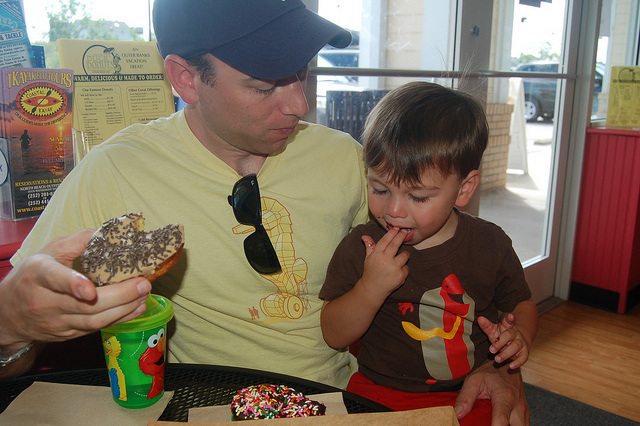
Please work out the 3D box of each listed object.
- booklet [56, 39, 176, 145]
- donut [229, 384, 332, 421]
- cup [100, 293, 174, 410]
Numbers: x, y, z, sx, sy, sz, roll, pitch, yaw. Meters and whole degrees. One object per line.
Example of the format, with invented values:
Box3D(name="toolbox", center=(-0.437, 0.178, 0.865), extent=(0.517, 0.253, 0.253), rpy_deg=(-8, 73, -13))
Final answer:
Box3D(name="booklet", center=(-0.761, -0.438, 1.790), extent=(0.372, 0.410, 0.036), rpy_deg=(-12, 18, -35))
Box3D(name="donut", center=(-0.116, 0.448, 1.140), extent=(0.135, 0.040, 0.105), rpy_deg=(5, 9, 3))
Box3D(name="cup", center=(-0.445, 0.329, 1.157), extent=(0.155, 0.246, 0.106), rpy_deg=(-7, 14, -31))
